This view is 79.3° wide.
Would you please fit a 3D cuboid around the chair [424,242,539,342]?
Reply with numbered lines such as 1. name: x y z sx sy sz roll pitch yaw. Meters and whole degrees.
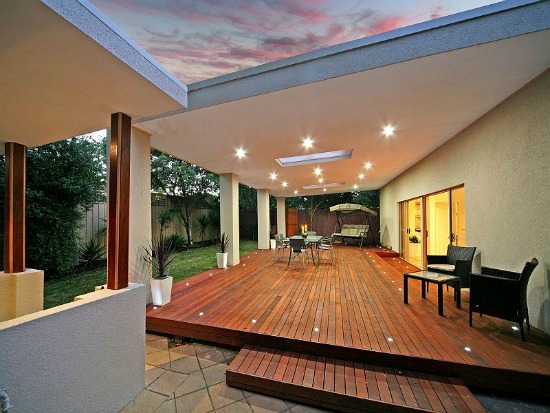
1. chair: 3.187 1.189 5.265 1.257 0.840 0.707 -1 -4 43

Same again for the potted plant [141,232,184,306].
1. potted plant: -2.072 1.119 5.966 0.522 1.192 0.758 0 -3 -11

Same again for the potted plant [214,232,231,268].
1. potted plant: -1.375 1.129 8.724 0.317 0.896 0.545 -1 -2 3
